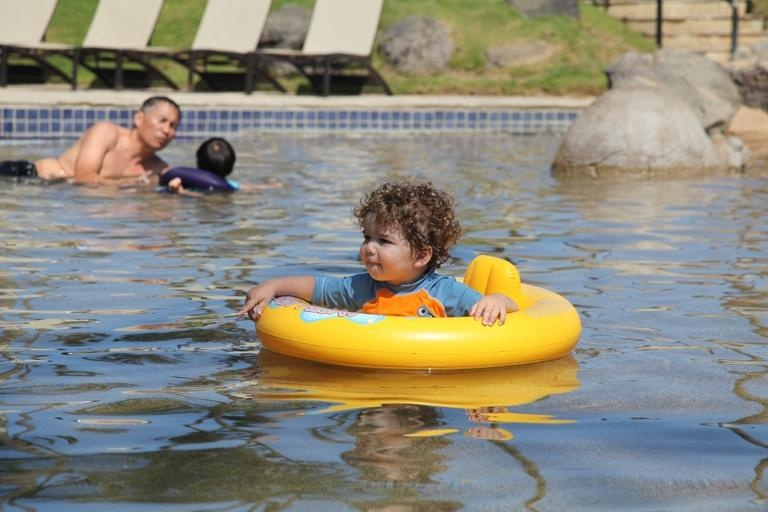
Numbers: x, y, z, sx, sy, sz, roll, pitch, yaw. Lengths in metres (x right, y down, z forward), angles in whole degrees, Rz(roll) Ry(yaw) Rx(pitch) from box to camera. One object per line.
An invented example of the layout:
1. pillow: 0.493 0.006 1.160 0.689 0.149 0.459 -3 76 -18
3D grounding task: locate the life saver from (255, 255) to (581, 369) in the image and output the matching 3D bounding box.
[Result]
1. life saver: 0.211 0.274 7.094 2.178 0.373 1.804 -6 17 -21

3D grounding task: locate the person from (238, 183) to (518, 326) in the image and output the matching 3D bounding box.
1. person: 0.134 0.107 6.808 2.046 0.757 1.237 -4 -15 40

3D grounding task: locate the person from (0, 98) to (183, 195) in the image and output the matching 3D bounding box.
1. person: -2.573 -1.009 10.273 1.801 0.488 0.943 -1 5 30

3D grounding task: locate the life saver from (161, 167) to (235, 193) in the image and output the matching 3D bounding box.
1. life saver: -1.772 -0.674 10.084 0.679 0.224 0.308 0 9 0
